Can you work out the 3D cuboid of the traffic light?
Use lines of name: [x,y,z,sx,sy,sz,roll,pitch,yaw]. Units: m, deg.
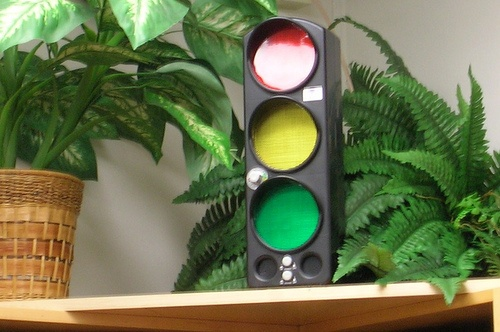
traffic light: [0.089,-0.029,1.045,0.203,0.564,0.161,-2,-17,16]
